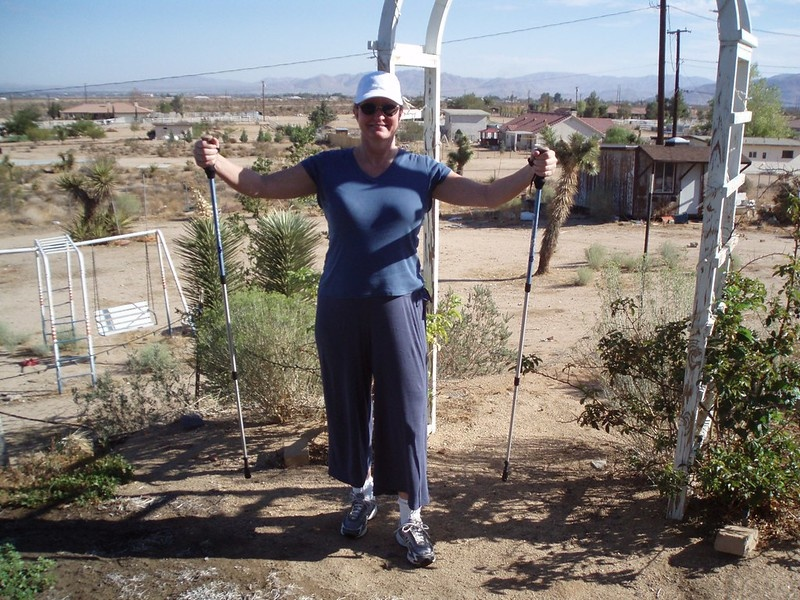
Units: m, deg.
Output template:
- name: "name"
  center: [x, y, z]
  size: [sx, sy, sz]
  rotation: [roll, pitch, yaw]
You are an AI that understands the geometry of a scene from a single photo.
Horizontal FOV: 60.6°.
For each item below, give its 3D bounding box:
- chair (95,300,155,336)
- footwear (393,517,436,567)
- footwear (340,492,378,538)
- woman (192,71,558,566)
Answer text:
- name: "chair"
  center: [-5.217, 0.406, 13.129]
  size: [1.203, 0.577, 0.801]
  rotation: [-8, 12, -37]
- name: "footwear"
  center: [0.112, 1.515, 4.329]
  size: [0.147, 0.143, 0.305]
  rotation: [-1, 3, -18]
- name: "footwear"
  center: [-0.279, 1.416, 4.566]
  size: [0.126, 0.161, 0.350]
  rotation: [9, 10, 7]
- name: "woman"
  center: [-0.168, 0.082, 4.404]
  size: [1.822, 2.994, 0.712]
  rotation: [1, 10, 9]
